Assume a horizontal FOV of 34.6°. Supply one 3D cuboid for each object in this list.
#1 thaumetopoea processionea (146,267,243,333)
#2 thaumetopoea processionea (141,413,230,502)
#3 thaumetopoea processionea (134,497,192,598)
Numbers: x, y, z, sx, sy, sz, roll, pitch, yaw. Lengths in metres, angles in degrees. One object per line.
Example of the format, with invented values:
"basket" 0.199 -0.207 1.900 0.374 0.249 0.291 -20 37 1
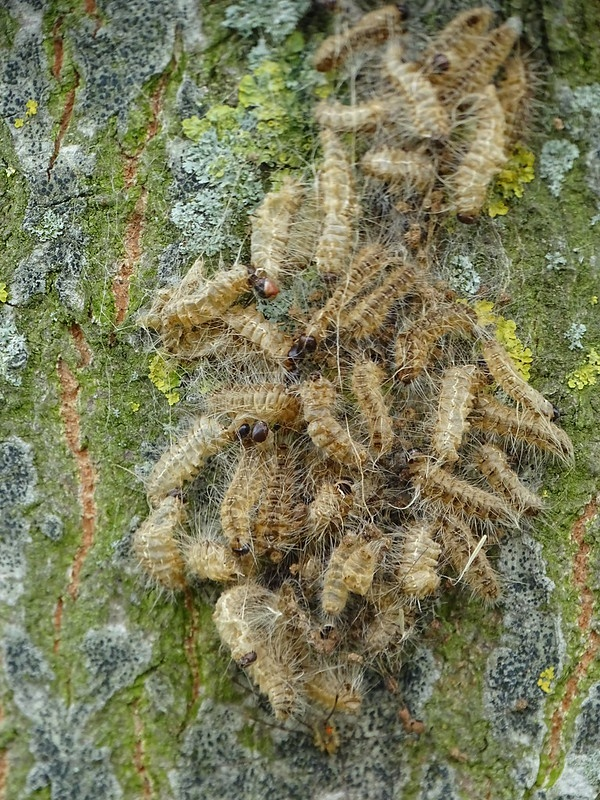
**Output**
"thaumetopoea processionea" -0.328 -0.311 3.063 0.374 0.145 0.142 -19 80 0
"thaumetopoea processionea" -0.331 0.188 3.052 0.338 0.124 0.114 -43 108 -1
"thaumetopoea processionea" -0.424 0.446 2.956 0.219 0.075 0.255 18 83 11
